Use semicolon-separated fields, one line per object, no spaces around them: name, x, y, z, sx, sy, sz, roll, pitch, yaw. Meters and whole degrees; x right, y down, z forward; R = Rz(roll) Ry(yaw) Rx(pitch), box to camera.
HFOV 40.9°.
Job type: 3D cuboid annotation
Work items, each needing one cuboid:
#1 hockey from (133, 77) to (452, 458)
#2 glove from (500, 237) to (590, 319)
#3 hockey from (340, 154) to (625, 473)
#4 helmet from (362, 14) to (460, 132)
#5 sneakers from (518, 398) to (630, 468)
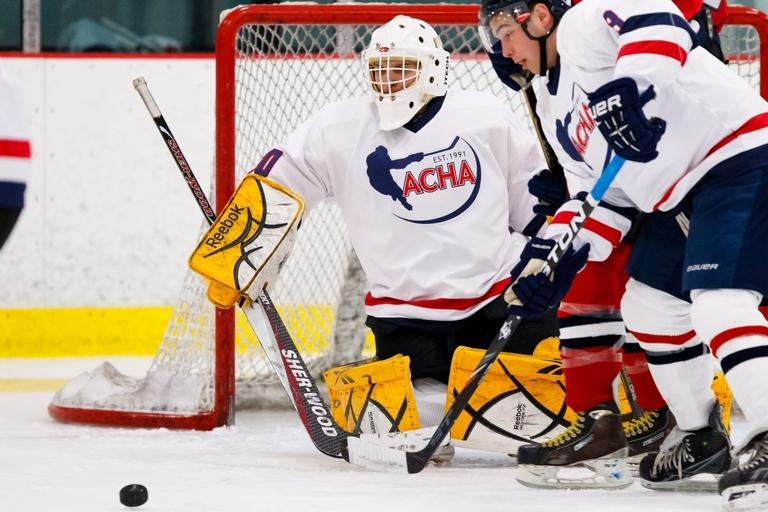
hockey;-0.411;0.156;3.765;0.521;1.564;0.139;-35;-4;-3
glove;0.514;0.068;3.362;0.213;0.284;0.104;30;-5;-24
hockey;0.368;0.217;3.641;0.147;1.200;0.179;29;5;-26
helmet;0.089;-0.708;3.937;0.328;0.395;0.365;5;14;23
sneakers;0.651;0.585;3.394;0.438;0.259;0.154;2;-22;7
